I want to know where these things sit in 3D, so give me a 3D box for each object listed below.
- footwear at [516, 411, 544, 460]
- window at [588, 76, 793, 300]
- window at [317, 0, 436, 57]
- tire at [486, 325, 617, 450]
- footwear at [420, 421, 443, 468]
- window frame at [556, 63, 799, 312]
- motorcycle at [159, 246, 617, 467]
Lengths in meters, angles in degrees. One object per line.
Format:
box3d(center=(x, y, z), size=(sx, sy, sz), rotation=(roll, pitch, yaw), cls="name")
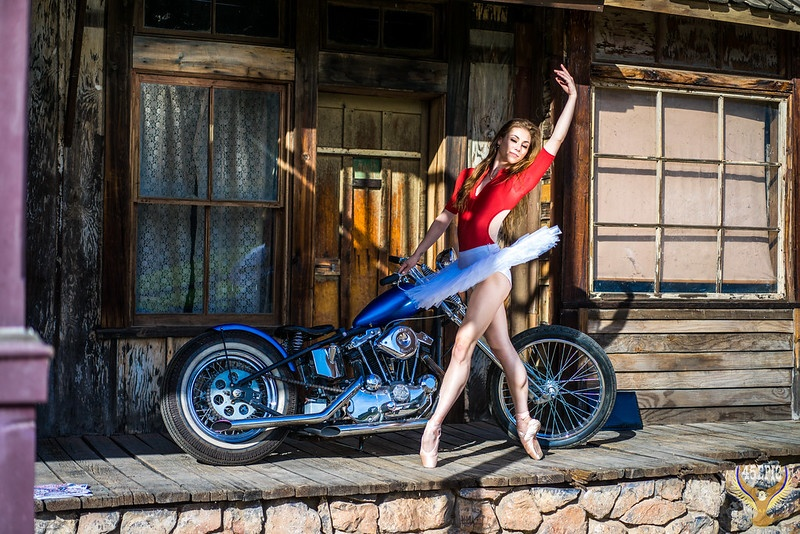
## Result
box3d(center=(0.912, 1.147, 6.096), size=(0.109, 0.396, 0.151), rotation=(-13, 1, -19), cls="footwear")
box3d(center=(2.348, -0.642, 7.322), size=(1.581, 1.824, 0.133), rotation=(0, 1, -11), cls="window")
box3d(center=(-0.154, -1.872, 6.978), size=(0.906, 0.379, 0.062), rotation=(0, 2, -16), cls="window")
box3d(center=(1.111, 0.907, 6.473), size=(0.723, 0.869, 0.184), rotation=(-2, -4, -3), cls="tire")
box3d(center=(0.197, 1.180, 5.863), size=(0.100, 0.330, 0.117), rotation=(0, -4, 8), cls="footwear")
box3d(center=(2.219, -0.636, 7.252), size=(1.753, 1.821, 0.186), rotation=(0, 1, -10), cls="window frame")
box3d(center=(-0.142, 0.495, 6.788), size=(3.367, 1.967, 1.413), rotation=(-1, -2, -11), cls="motorcycle")
